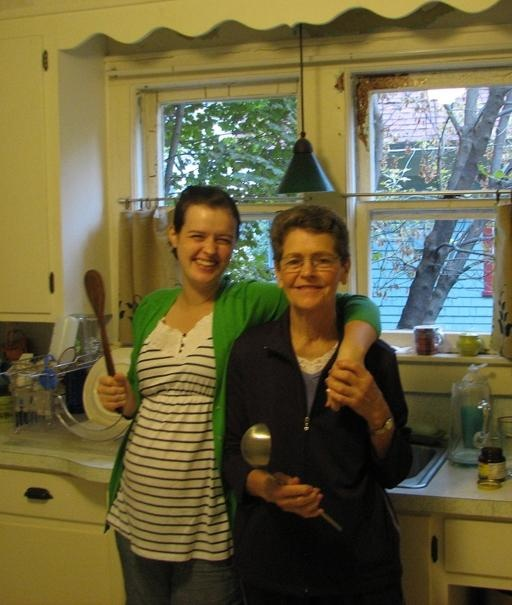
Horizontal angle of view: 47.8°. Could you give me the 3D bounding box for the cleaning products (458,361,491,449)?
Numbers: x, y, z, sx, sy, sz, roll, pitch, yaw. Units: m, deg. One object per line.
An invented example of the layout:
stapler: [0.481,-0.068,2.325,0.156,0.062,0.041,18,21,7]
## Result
cleaning products: [0.635,0.300,1.683,0.090,0.211,0.161,4,8,20]

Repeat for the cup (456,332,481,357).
cup: [0.699,0.138,1.896,0.083,0.062,0.072,0,-5,-15]

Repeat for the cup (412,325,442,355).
cup: [0.576,0.134,1.959,0.082,0.089,0.099,0,-3,14]

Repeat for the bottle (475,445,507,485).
bottle: [0.590,0.399,1.452,0.086,0.113,0.086,1,-5,0]

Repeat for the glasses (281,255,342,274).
glasses: [0.104,-0.070,1.097,0.108,0.033,0.045,1,8,0]

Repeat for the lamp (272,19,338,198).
lamp: [0.184,-0.647,1.924,0.189,0.584,0.437,2,8,4]

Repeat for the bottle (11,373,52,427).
bottle: [-0.751,0.320,1.931,0.125,0.205,0.168,-2,8,-21]
